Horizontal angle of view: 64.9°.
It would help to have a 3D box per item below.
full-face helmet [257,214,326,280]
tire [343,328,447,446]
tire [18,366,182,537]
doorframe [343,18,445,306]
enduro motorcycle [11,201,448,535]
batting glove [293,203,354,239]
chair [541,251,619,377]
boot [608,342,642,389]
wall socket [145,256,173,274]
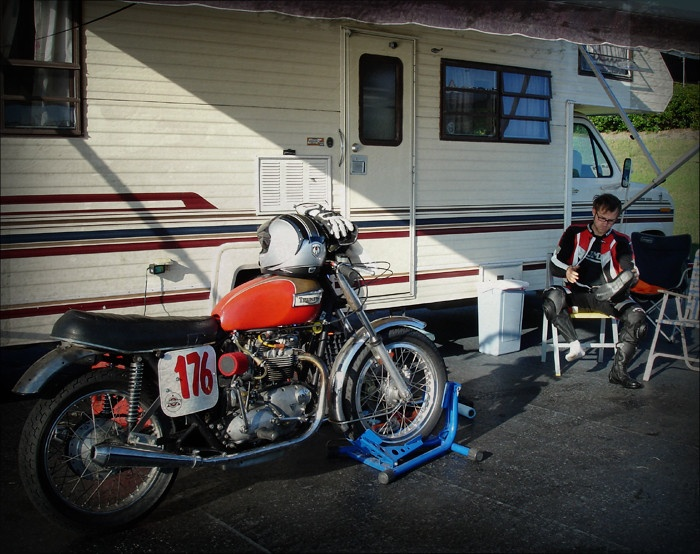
[{"bbox_3d":[-0.344,-0.204,3.395,0.495,0.341,0.346,2,8,32],"label":"full-face helmet"},{"bbox_3d":[0.270,0.708,3.481,0.908,0.786,0.246,4,4,-23],"label":"tire"},{"bbox_3d":[-1.354,0.847,2.897,0.677,0.863,0.697,-6,12,-30],"label":"tire"},{"bbox_3d":[0.234,-1.079,5.288,0.973,2.456,0.311,-10,13,-40],"label":"doorframe"},{"bbox_3d":[-0.534,0.436,3.295,1.012,1.319,2.670,-1,4,43],"label":"enduro motorcycle"},{"bbox_3d":[-0.171,-0.370,3.420,0.253,0.098,0.385,-23,49,-34],"label":"batting glove"},{"bbox_3d":[2.234,0.374,5.361,0.693,0.978,0.660,-2,0,10],"label":"chair"},{"bbox_3d":[2.413,0.759,4.806,0.267,0.390,0.153,5,12,25],"label":"boot"},{"bbox_3d":[-1.515,-0.098,4.320,0.149,0.078,0.241,-1,4,-27],"label":"wall socket"}]
